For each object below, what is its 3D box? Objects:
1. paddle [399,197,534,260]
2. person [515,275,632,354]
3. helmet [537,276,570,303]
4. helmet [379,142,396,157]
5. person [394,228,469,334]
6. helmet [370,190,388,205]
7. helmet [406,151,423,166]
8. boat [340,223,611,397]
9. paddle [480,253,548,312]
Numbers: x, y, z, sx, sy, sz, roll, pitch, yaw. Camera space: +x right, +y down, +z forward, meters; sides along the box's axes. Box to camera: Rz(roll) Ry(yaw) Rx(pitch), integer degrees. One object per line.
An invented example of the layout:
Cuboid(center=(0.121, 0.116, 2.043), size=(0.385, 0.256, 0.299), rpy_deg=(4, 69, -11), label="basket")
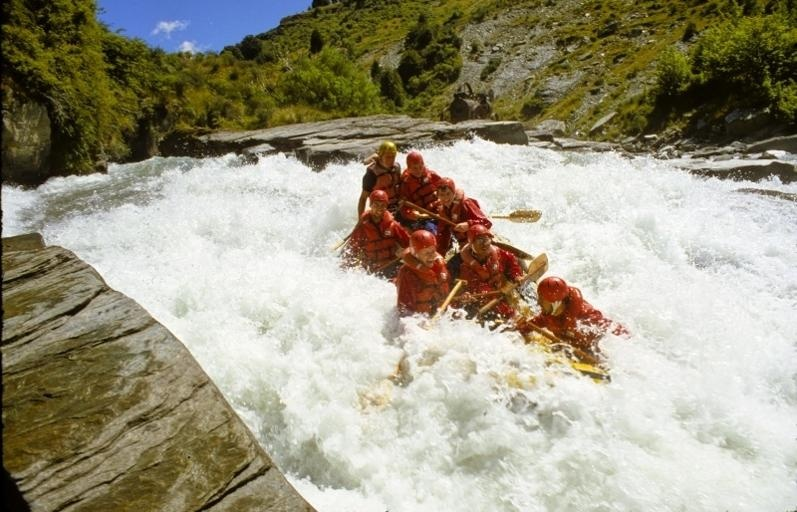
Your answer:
Cuboid(center=(1.537, -0.703, 10.545), size=(3.024, 0.317, 1.070), rpy_deg=(21, 49, -16), label="paddle")
Cuboid(center=(2.554, 0.871, 8.112), size=(1.162, 0.828, 0.614), rpy_deg=(20, 48, 13), label="person")
Cuboid(center=(2.297, 0.536, 8.104), size=(0.394, 0.304, 0.384), rpy_deg=(-25, 29, -24), label="helmet")
Cuboid(center=(-0.202, -2.050, 10.536), size=(0.255, 0.308, 0.312), rpy_deg=(-12, 23, -38), label="helmet")
Cuboid(center=(0.413, 0.335, 8.463), size=(0.884, 1.081, 0.927), rpy_deg=(11, 47, 6), label="person")
Cuboid(center=(-0.359, -1.039, 9.602), size=(0.278, 0.215, 0.283), rpy_deg=(7, 12, 21), label="helmet")
Cuboid(center=(0.299, -1.863, 10.636), size=(0.279, 0.219, 0.282), rpy_deg=(0, 25, 24), label="helmet")
Cuboid(center=(1.481, 0.662, 8.344), size=(2.837, 1.061, 2.286), rpy_deg=(12, 29, 42), label="boat")
Cuboid(center=(1.823, 0.456, 8.761), size=(0.232, 1.277, 0.213), rpy_deg=(49, 12, -7), label="paddle")
